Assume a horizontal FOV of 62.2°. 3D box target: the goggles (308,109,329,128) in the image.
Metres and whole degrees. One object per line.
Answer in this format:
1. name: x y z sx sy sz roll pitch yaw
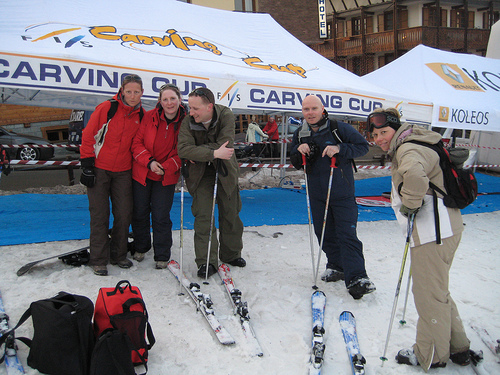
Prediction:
1. goggles: 0.830 -0.799 4.824 0.178 0.213 0.076 -4 -31 35

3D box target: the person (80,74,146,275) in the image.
1. person: -1.629 -0.153 4.971 0.733 2.324 0.447 -5 15 -26

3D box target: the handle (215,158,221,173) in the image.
1. handle: -0.377 -0.253 4.801 0.066 0.184 0.045 10 16 33

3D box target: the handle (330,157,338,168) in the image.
1. handle: 0.958 -0.277 4.688 0.091 0.129 0.048 0 13 -9

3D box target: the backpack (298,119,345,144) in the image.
1. backpack: 0.812 -0.682 4.915 0.342 0.337 0.358 -5 17 7

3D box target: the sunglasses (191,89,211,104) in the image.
1. sunglasses: -0.549 -1.029 4.678 0.213 0.132 0.114 1 13 -4

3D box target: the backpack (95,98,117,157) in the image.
1. backpack: -1.699 -0.712 4.920 0.104 0.658 0.293 12 16 36

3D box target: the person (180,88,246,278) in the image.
1. person: -0.423 -0.034 4.937 0.800 2.220 0.608 -1 13 -10

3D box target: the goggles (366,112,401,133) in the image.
1. goggles: 1.241 -0.576 3.878 0.225 0.106 0.177 6 -13 -37

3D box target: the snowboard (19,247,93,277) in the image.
1. snowboard: -2.331 0.884 5.319 0.260 0.205 1.142 4 4 34
